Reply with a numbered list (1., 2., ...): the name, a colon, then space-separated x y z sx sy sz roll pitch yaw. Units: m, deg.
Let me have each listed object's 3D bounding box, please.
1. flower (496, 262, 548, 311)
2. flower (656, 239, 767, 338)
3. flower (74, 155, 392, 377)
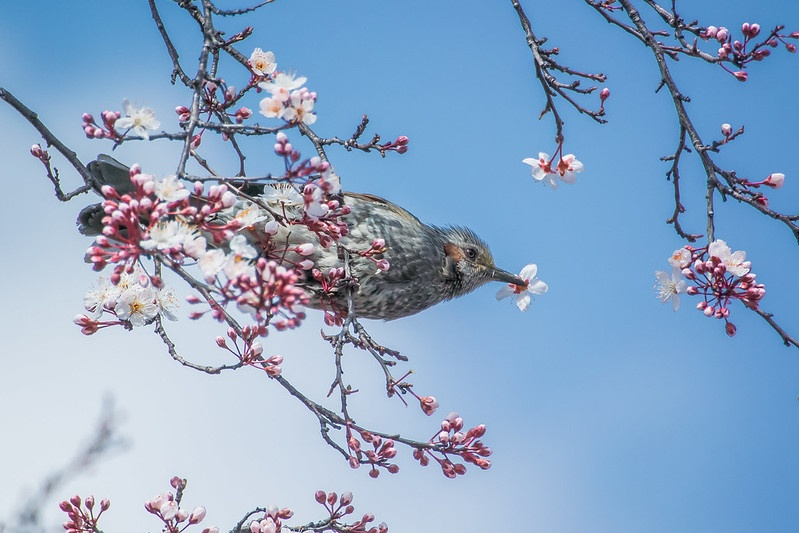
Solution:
1. flower: 1.029 0.128 11.242 0.431 0.408 0.152 11 -76 8
2. flower: 1.991 0.073 8.340 0.446 0.621 0.348 15 -75 -14
3. flower: -1.150 -0.103 8.944 1.530 0.965 0.564 27 -58 0
